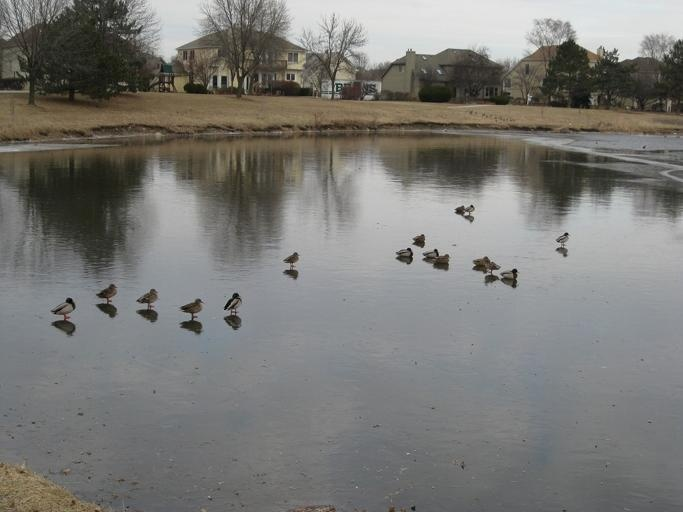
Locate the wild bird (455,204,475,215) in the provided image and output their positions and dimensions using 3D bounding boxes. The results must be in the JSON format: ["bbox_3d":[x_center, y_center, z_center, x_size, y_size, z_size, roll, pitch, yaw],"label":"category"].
[{"bbox_3d":[4.052,-1.526,29.475,0.270,0.358,0.576,1,10,39],"label":"wild bird"}]

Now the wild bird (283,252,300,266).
[{"bbox_3d":[-1.122,0.063,21.591,0.421,0.334,0.207,-6,12,-37],"label":"wild bird"}]
